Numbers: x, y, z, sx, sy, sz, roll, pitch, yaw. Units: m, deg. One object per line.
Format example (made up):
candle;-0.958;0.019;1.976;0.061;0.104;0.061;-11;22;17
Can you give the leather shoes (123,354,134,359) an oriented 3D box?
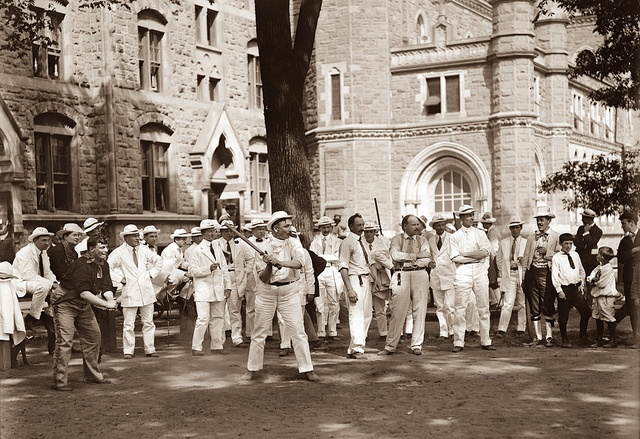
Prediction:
leather shoes;-4.587;3.264;21.169;0.223;0.103;0.178;-6;13;-29

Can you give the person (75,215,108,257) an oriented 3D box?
person;-5.795;0.435;22.261;1.093;0.427;0.736;-33;-8;37

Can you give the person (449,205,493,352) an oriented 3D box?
person;3.624;1.517;21.390;1.038;3.378;1.279;1;12;8

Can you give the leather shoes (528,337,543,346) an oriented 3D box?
leather shoes;5.286;2.988;21.698;0.297;0.123;0.195;-2;5;-12

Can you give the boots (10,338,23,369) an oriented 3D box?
boots;-7.147;3.156;20.871;0.298;0.575;0.602;-3;12;-14

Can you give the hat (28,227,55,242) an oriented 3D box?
hat;-7.288;0.381;22.603;0.489;0.176;0.427;-16;-12;23

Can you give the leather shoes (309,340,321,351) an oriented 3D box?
leather shoes;-0.160;3.115;21.927;0.235;0.263;0.642;-3;-11;4

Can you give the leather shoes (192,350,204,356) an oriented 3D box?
leather shoes;-2.953;3.200;21.344;0.294;0.117;0.101;-12;-14;42

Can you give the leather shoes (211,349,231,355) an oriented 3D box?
leather shoes;-2.449;3.207;21.532;0.435;0.167;0.146;-1;-1;0

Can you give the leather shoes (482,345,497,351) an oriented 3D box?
leather shoes;4.070;3.105;21.399;0.340;0.138;0.115;-12;-7;43

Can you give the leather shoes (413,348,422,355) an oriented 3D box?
leather shoes;2.295;3.118;21.055;0.224;0.162;0.350;1;11;6

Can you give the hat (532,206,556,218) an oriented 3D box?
hat;7.019;-0.238;28.057;0.478;0.189;0.520;-6;-14;27

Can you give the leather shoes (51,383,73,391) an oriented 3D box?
leather shoes;-5.495;3.545;18.803;0.486;0.190;0.157;-2;-1;7

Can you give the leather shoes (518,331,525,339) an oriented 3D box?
leather shoes;5.265;3.008;23.176;0.172;0.159;0.169;-2;1;-10

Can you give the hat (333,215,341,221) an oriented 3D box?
hat;0.516;-0.044;27.743;0.230;0.096;0.221;1;-6;0

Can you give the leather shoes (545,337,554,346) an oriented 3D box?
leather shoes;5.585;2.991;21.628;0.174;0.185;0.184;4;-16;0

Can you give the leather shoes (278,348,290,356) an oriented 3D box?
leather shoes;-0.876;3.243;21.552;0.110;0.205;0.319;-5;-17;22

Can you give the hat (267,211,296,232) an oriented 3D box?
hat;-0.948;0.013;19.433;0.462;0.166;0.393;-24;-19;27

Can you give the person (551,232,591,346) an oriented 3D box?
person;6.126;1.734;21.668;0.916;2.830;1.178;5;13;26

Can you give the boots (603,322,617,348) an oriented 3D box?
boots;7.156;2.776;21.892;0.364;0.680;1.033;4;12;18

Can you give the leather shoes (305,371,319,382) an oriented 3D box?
leather shoes;-0.192;3.376;19.052;0.159;0.120;0.320;-1;-5;-37

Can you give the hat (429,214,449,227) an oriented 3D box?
hat;2.922;0.006;22.281;0.343;0.142;0.388;-14;-9;-14

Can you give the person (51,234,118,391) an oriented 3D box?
person;-5.082;2.010;19.006;0.940;3.172;1.550;8;14;33

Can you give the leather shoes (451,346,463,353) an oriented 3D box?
leather shoes;3.280;3.087;21.209;0.238;0.138;0.271;2;11;9

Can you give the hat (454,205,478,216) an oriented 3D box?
hat;3.686;-0.235;21.724;0.493;0.176;0.429;-3;0;-8

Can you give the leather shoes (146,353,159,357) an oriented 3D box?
leather shoes;-4.052;3.263;21.301;0.307;0.121;0.101;0;0;-1

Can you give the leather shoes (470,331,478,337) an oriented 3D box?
leather shoes;4.035;3.002;23.325;0.150;0.130;0.146;-1;2;15

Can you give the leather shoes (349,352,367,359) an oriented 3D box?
leather shoes;0.861;3.204;20.810;0.386;0.151;0.161;-5;-3;22

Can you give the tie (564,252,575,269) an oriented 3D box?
tie;6.031;1.002;21.379;0.211;0.363;0.078;6;13;27

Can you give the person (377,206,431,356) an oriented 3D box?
person;2.134;1.571;21.183;0.963;3.186;1.111;3;12;14
